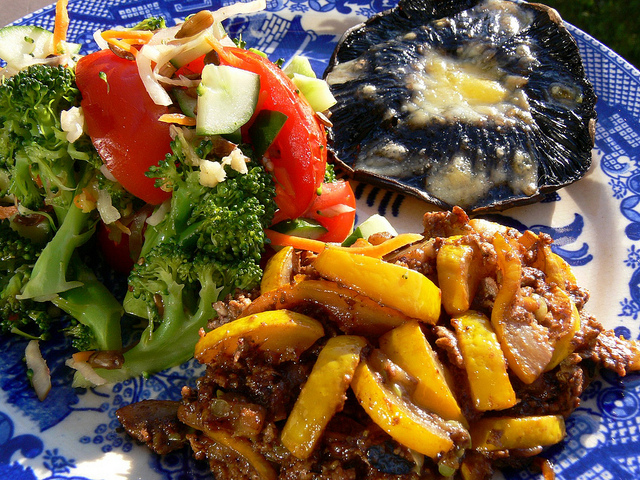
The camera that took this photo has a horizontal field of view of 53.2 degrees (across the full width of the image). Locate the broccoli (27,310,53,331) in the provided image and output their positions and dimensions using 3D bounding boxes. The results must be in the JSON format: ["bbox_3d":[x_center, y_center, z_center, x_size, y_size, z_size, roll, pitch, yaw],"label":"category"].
[{"bbox_3d":[-1.871,0.536,4.275,0.104,0.140,0.066,-57,25,-14],"label":"broccoli"}]

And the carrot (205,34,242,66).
[{"bbox_3d":[-0.641,-1.172,4.067,0.154,0.132,0.501,33,19,-8],"label":"carrot"}]

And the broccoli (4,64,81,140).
[{"bbox_3d":[-1.709,-0.871,4.001,0.404,0.332,0.355,-22,50,-26],"label":"broccoli"}]

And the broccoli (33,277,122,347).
[{"bbox_3d":[-1.551,0.475,4.142,0.421,0.165,0.457,-5,87,4],"label":"broccoli"}]
